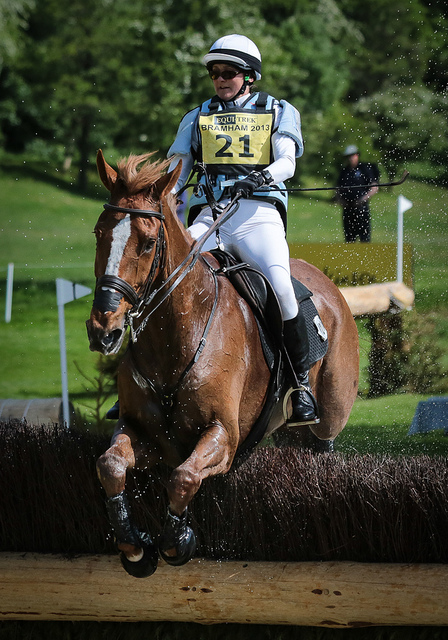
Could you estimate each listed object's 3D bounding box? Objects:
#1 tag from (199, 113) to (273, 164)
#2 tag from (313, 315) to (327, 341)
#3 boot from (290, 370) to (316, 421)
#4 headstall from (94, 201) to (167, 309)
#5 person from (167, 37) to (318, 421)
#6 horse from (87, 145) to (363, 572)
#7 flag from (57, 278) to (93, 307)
[{"bbox_3d":[0.055,-0.852,3.684,0.333,0.238,0.073,0,8,-1],"label":"tag"},{"bbox_3d":[0.496,0.046,4.053,0.013,0.117,0.115,-19,-26,18],"label":"tag"},{"bbox_3d":[0.389,0.383,3.857,0.124,0.244,0.331,-6,-4,7],"label":"boot"},{"bbox_3d":[-0.312,-0.199,2.842,0.224,0.434,0.226,12,20,37],"label":"headstall"},{"bbox_3d":[0.039,-0.442,3.663,0.765,1.801,0.708,-2,-1,14],"label":"person"},{"bbox_3d":[0.038,0.188,4.001,0.859,1.766,2.745,3,3,23],"label":"horse"},{"bbox_3d":[-1.044,-0.199,5.453,0.226,0.185,0.294,-2,8,-12],"label":"flag"}]
